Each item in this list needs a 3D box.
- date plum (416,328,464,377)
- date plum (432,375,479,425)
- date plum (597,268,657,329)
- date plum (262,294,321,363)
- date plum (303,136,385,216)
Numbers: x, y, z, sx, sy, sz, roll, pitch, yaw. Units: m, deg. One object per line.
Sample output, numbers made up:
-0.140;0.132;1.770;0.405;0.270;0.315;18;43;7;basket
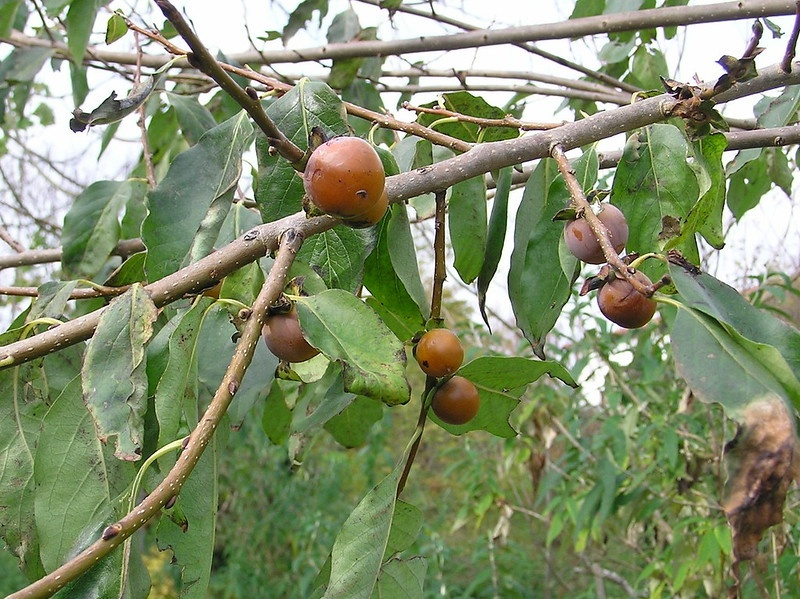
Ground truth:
0.090;0.123;1.759;0.092;0.123;0.100;-6;-8;5;date plum
0.133;0.222;1.836;0.094;0.125;0.097;2;5;7;date plum
0.451;-0.016;1.673;0.102;0.130;0.099;16;9;-19;date plum
-0.227;0.077;1.675;0.113;0.099;0.169;8;-32;-9;date plum
-0.091;-0.237;1.592;0.129;0.155;0.131;-6;-28;-35;date plum
